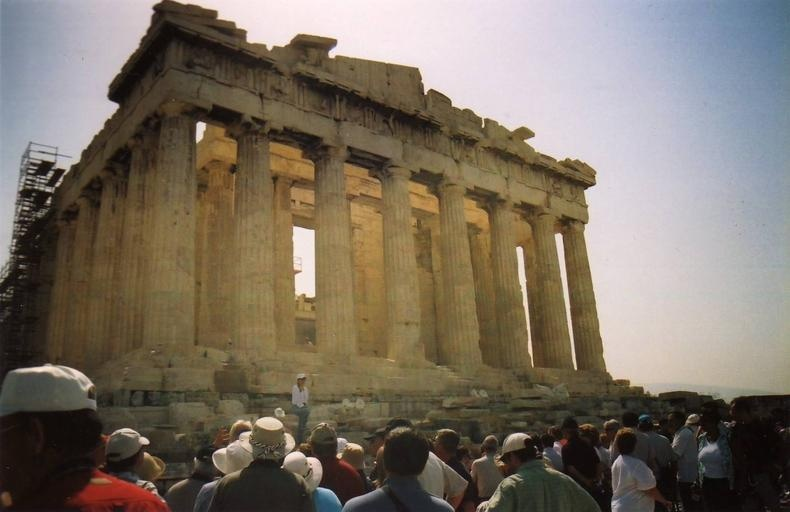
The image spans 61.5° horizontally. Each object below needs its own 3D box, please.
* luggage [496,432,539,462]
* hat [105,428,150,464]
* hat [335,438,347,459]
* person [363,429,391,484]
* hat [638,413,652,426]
[{"bbox_3d":[1.657,2.563,9.067,0.425,0.289,0.544,0,-6,0],"label":"luggage"},{"bbox_3d":[-3.344,2.324,8.334,0.376,0.259,0.485,8,20,24],"label":"hat"},{"bbox_3d":[-0.824,3.147,10.932,0.252,0.302,0.316,6,-18,-7],"label":"hat"},{"bbox_3d":[-0.343,3.269,11.380,0.468,0.444,1.214,-14,17,-1],"label":"person"},{"bbox_3d":[4.729,3.079,12.538,0.196,0.151,0.318,-1,0,43],"label":"hat"}]
